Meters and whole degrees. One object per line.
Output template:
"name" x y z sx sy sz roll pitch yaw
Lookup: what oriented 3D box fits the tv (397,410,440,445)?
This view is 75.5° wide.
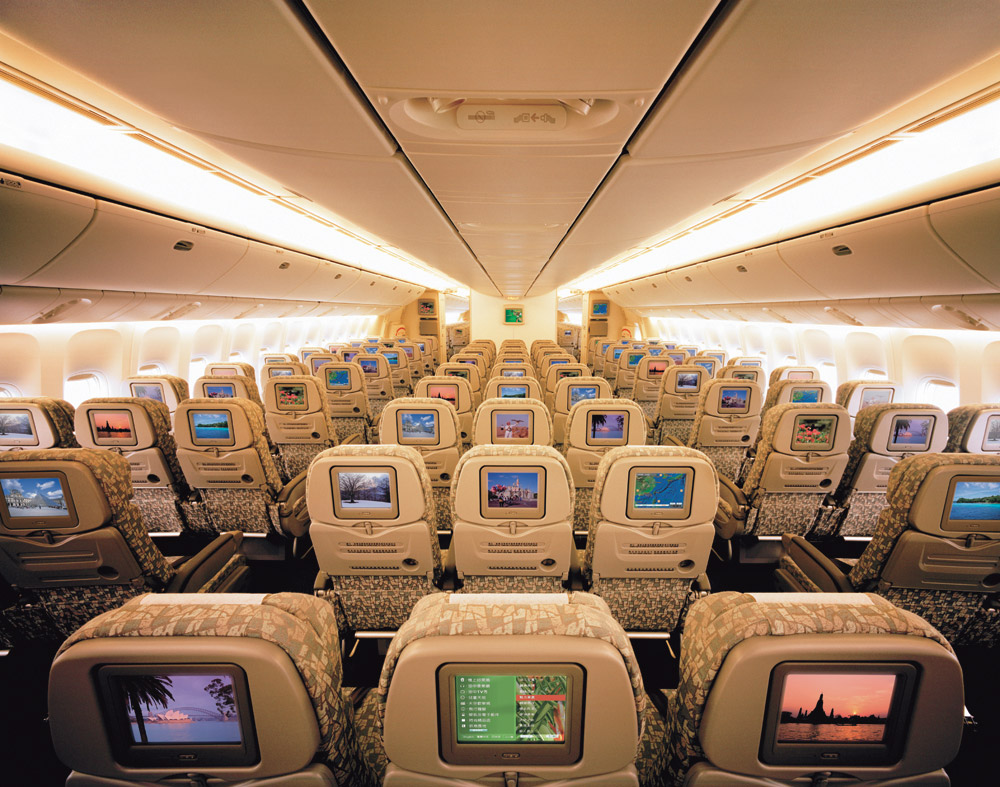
"tv" -0.658 0.259 5.141 0.315 0.236 0.141 1 18 -4

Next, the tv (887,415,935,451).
"tv" 3.112 0.295 4.939 0.342 0.271 0.031 2 12 -4

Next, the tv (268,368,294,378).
"tv" -2.651 -0.247 7.802 0.349 0.145 0.212 3 -8 -9

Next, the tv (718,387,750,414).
"tv" 2.205 0.057 6.154 0.312 0.215 0.028 -2 19 -3

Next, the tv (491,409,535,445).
"tv" 0.105 0.266 5.327 0.363 0.239 0.025 0 16 0

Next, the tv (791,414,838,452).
"tv" 2.322 0.284 4.823 0.366 0.291 0.033 0 18 -4

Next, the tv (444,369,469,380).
"tv" -0.615 -0.258 8.932 0.295 0.155 0.254 2 -4 -3

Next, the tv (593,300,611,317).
"tv" 2.716 -2.311 17.900 0.634 0.483 0.411 -1 -6 0

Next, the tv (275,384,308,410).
"tv" -1.993 0.026 6.198 0.273 0.214 0.124 1 29 -3

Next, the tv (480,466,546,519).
"tv" 0.063 0.540 3.598 0.374 0.250 0.032 0 22 -1

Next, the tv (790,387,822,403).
"tv" 3.152 0.015 6.702 0.170 0.124 0.040 3 15 -1

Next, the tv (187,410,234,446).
"tv" -2.188 0.250 4.893 0.348 0.280 0.031 1 26 -3

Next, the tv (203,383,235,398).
"tv" -2.991 -0.033 6.880 0.183 0.132 0.017 3 33 18

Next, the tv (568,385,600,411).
"tv" 0.808 0.038 6.395 0.352 0.209 0.033 0 7 -22

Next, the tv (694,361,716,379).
"tv" 2.612 -0.295 8.325 0.093 0.315 0.361 3 1 -17

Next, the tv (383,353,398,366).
"tv" -1.985 -0.609 11.619 0.325 0.233 0.082 7 -5 10

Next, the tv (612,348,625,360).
"tv" 2.436 -0.778 13.136 0.295 0.215 0.273 6 14 23
